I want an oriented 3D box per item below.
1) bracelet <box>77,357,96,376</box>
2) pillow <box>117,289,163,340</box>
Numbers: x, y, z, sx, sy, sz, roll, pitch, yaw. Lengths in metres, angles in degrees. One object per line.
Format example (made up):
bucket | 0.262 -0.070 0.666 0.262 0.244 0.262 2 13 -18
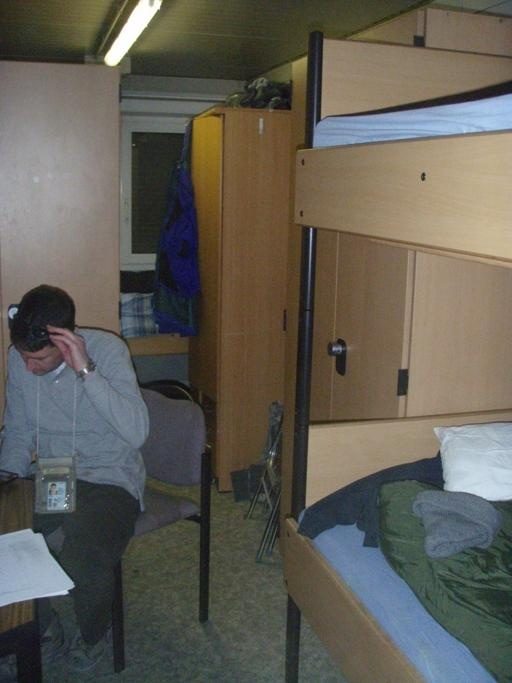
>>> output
bracelet | -0.529 0.086 1.810 0.056 0.041 0.059 -28 12 6
pillow | -0.829 -0.179 4.118 0.313 0.335 0.080 1 -11 -13
